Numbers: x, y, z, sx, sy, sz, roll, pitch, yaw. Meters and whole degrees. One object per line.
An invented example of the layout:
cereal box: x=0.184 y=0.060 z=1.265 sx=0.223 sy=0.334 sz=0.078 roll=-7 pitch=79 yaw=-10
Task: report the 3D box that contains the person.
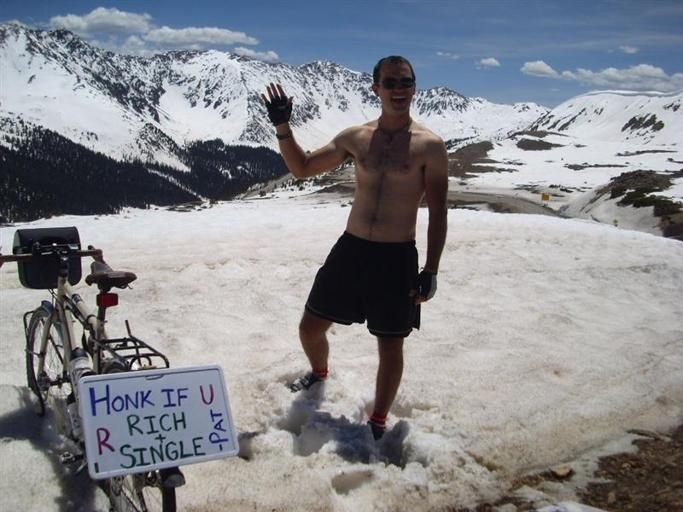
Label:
person: x=0.193 y=0.188 z=4.936 sx=1.504 sy=2.860 sz=0.783 roll=9 pitch=16 yaw=28
